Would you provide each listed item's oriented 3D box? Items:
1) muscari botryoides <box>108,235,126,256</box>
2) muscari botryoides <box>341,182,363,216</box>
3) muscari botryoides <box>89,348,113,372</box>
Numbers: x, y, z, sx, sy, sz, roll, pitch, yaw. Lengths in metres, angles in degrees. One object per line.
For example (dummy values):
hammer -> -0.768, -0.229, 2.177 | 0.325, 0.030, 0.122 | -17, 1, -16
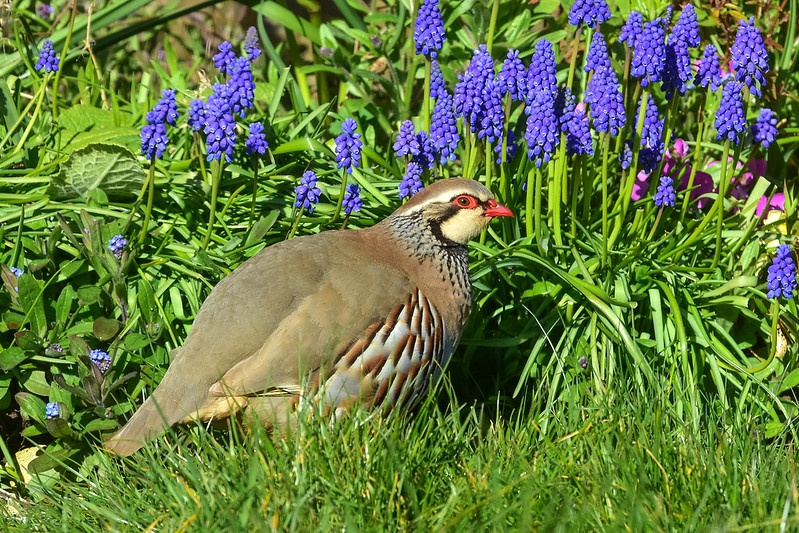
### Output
muscari botryoides -> -1.204, -0.092, 3.681 | 0.072, 0.093, 0.028 | 6, 2, -16
muscari botryoides -> -0.212, -0.307, 3.865 | 0.102, 0.200, 0.124 | 1, 9, -5
muscari botryoides -> -1.225, 0.381, 3.545 | 0.027, 0.091, 0.078 | -31, -17, 31
